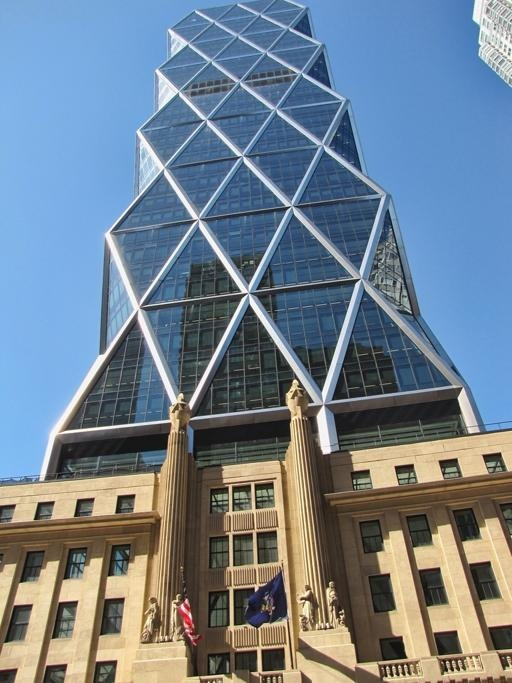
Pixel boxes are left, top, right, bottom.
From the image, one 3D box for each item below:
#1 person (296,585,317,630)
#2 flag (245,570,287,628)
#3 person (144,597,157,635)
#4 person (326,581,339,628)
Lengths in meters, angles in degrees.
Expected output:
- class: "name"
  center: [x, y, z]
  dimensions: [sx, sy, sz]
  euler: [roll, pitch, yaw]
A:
- class: "person"
  center: [2.439, 12.600, 26.206]
  dimensions: [0.865, 1.942, 0.676]
  euler: [-5, -36, -1]
- class: "flag"
  center: [0.452, 11.679, 24.889]
  dimensions: [1.799, 2.030, 0.729]
  euler: [4, -37, -12]
- class: "person"
  center: [-5.152, 13.355, 26.962]
  dimensions: [0.587, 1.727, 0.666]
  euler: [1, -36, -9]
- class: "person"
  center: [3.679, 12.397, 26.278]
  dimensions: [0.550, 1.797, 0.437]
  euler: [2, -27, -10]
